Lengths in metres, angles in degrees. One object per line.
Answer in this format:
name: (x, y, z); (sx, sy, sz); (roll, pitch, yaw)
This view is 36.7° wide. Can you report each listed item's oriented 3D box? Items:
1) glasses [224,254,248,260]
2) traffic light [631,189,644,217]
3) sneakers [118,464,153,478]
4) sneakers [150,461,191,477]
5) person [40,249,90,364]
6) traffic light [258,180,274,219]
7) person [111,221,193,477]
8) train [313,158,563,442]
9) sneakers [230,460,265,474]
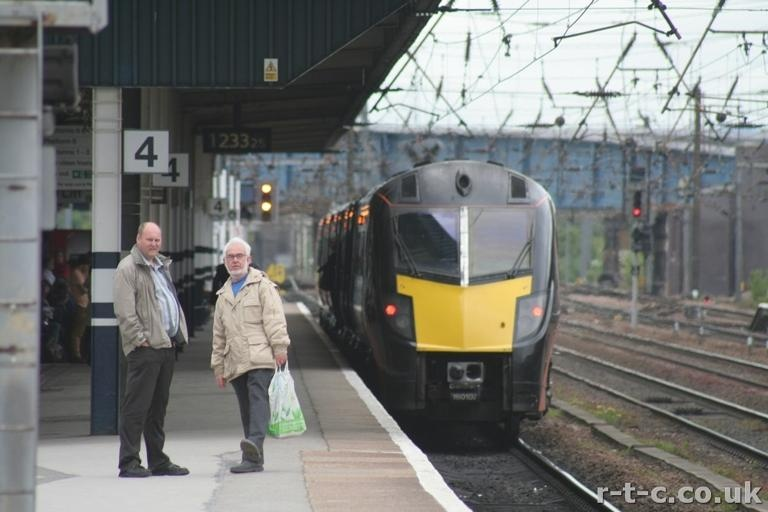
glasses: (-1.962, 0.006, 15.272); (0.286, 0.083, 0.083); (-1, 4, -7)
traffic light: (6.314, -1.297, 29.042); (0.227, 0.694, 0.505); (1, 4, 12)
sneakers: (-3.262, 2.818, 15.057); (0.327, 0.148, 0.179); (-2, -2, -2)
sneakers: (-2.800, 2.775, 15.197); (0.543, 0.237, 0.192); (-1, -2, -6)
person: (-6.276, 1.059, 22.785); (0.897, 2.176, 0.618); (-2, 4, -19)
traffic light: (-3.296, -1.504, 32.172); (0.300, 1.059, 0.682); (-1, 4, -8)
person: (-3.046, 1.224, 14.991); (0.889, 3.313, 0.443); (-1, 4, -13)
train: (0.833, 0.684, 20.648); (2.772, 4.734, 5.729); (-1, 4, -13)
sneakers: (-1.824, 2.790, 15.341); (0.399, 0.167, 0.170); (5, -6, -9)
